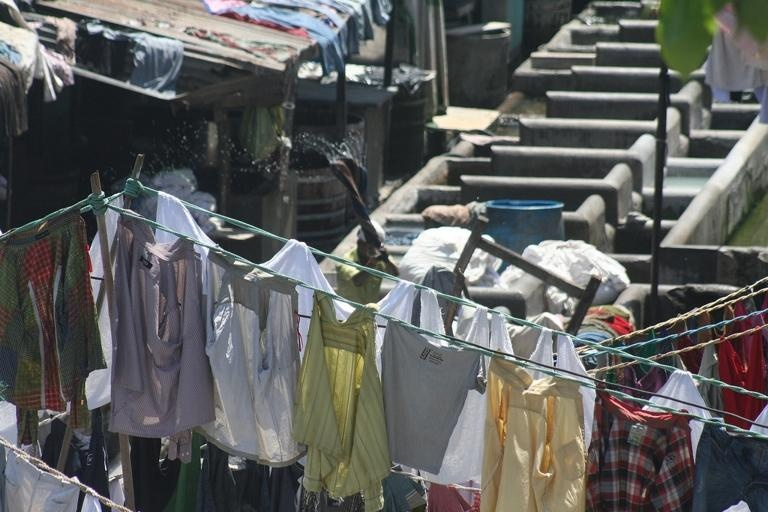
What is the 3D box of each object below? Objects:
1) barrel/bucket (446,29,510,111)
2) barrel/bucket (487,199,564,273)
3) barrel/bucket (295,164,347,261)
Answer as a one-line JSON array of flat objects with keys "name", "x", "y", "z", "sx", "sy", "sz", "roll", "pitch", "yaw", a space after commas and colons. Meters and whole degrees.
[{"name": "barrel/bucket", "x": 1.470, "y": -3.031, "z": 37.192, "sx": 1.083, "sy": 1.183, "sz": 1.019, "roll": -2, "pitch": 16, "yaw": 1}, {"name": "barrel/bucket", "x": 1.794, "y": -0.231, "z": 30.493, "sx": 0.973, "sy": 1.030, "sz": 0.936, "roll": -1, "pitch": 5, "yaw": 0}, {"name": "barrel/bucket", "x": -1.001, "y": -0.675, "z": 30.943, "sx": 0.964, "sy": 0.974, "sz": 0.931, "roll": 0, "pitch": 10, "yaw": 0}]
